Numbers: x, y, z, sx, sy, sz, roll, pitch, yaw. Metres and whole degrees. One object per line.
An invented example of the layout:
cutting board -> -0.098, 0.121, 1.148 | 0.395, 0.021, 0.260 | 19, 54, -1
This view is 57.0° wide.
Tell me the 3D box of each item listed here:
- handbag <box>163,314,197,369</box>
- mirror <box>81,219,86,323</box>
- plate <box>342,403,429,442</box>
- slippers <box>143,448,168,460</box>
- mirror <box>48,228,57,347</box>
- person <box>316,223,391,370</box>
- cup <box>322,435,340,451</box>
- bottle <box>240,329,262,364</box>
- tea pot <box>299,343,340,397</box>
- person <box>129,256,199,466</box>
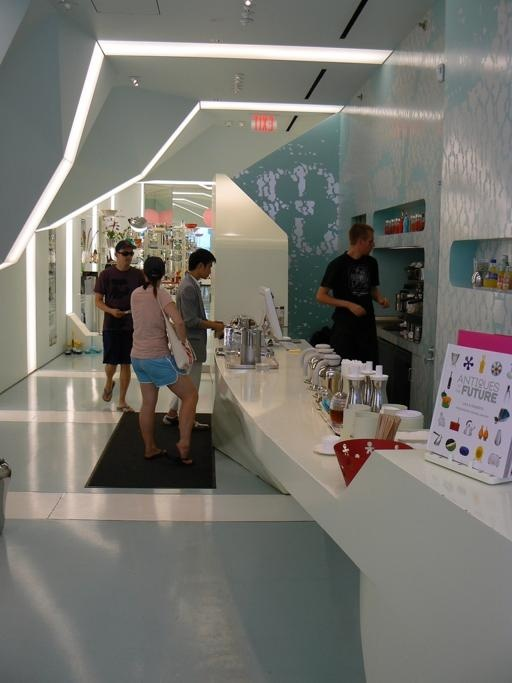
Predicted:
handbag -> -0.629, 0.019, 3.779 | 0.206, 0.452, 0.142 | 0, 3, -22
mirror -> -3.791, -1.591, 10.316 | 0.114, 2.255, 0.796 | 0, 3, -21
plate -> 0.416, 0.271, 1.468 | 0.184, 0.085, 0.142 | -1, 12, -4
slippers -> -0.869, 0.985, 4.107 | 0.220, 0.095, 0.082 | -8, 12, -36
mirror -> -3.633, -0.944, 8.405 | 0.087, 2.008, 0.678 | 0, 3, -17
person -> 0.824, -0.397, 4.103 | 0.582, 1.230, 0.595 | 1, 3, 3
cup -> 0.264, 0.363, 1.682 | 0.041, 0.039, 0.050 | 0, 2, -1
bottle -> -0.037, 0.044, 3.666 | 0.170, 0.279, 0.161 | 1, 3, 0
tea pot -> 0.332, 0.158, 2.514 | 0.156, 0.307, 0.273 | 8, 13, 32
person -> -0.791, 0.168, 3.924 | 0.569, 1.716, 0.446 | 1, 2, 3
